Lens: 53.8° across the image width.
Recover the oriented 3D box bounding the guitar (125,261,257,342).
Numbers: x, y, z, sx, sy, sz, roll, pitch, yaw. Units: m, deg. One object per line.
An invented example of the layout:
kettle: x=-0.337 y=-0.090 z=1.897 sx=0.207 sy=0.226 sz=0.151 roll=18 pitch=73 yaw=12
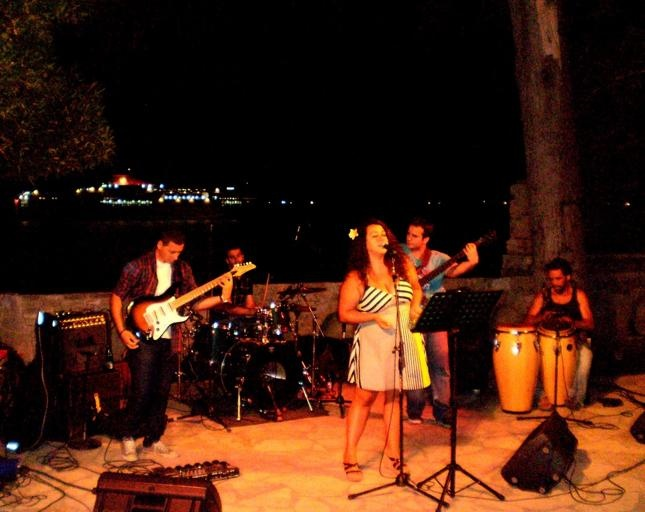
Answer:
guitar: x=-1.527 y=0.563 z=7.350 sx=1.063 sy=0.371 sz=0.159 roll=-32 pitch=4 yaw=-24

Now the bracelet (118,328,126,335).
bracelet: x=-2.083 y=0.785 z=6.607 sx=0.079 sy=0.054 sz=0.034 roll=3 pitch=7 yaw=29

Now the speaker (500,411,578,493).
speaker: x=2.098 y=1.881 z=6.154 sx=0.565 sy=0.557 sz=0.721 roll=-11 pitch=6 yaw=40

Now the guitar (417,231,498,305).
guitar: x=1.552 y=0.079 z=7.670 sx=1.381 sy=0.463 sz=0.148 roll=-41 pitch=-1 yaw=17

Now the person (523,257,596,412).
person: x=3.147 y=1.137 z=8.369 sx=0.827 sy=2.231 sz=0.670 roll=0 pitch=18 yaw=22

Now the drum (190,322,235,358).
drum: x=-1.395 y=1.095 z=8.252 sx=0.432 sy=0.364 sz=0.470 roll=6 pitch=-9 yaw=1

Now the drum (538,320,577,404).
drum: x=2.947 y=1.378 z=7.979 sx=0.379 sy=1.001 sz=0.326 roll=-4 pitch=7 yaw=-32

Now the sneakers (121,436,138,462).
sneakers: x=-2.068 y=2.041 z=6.793 sx=0.163 sy=0.202 sz=0.308 roll=-2 pitch=7 yaw=-18

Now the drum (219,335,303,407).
drum: x=-0.790 y=1.364 z=8.336 sx=1.067 sy=1.172 sz=0.784 roll=-5 pitch=13 yaw=-33

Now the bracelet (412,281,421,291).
bracelet: x=0.952 y=0.302 z=6.451 sx=0.073 sy=0.083 sz=0.082 roll=0 pitch=3 yaw=11

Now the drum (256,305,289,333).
drum: x=-0.637 y=0.812 z=8.067 sx=0.410 sy=0.442 sz=0.206 roll=-1 pitch=6 yaw=-7

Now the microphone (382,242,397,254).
microphone: x=0.679 y=-0.081 z=6.366 sx=0.115 sy=0.132 sz=0.125 roll=5 pitch=-31 yaw=23

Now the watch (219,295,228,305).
watch: x=-1.062 y=0.483 z=6.883 sx=0.083 sy=0.089 sz=0.023 roll=2 pitch=20 yaw=7
